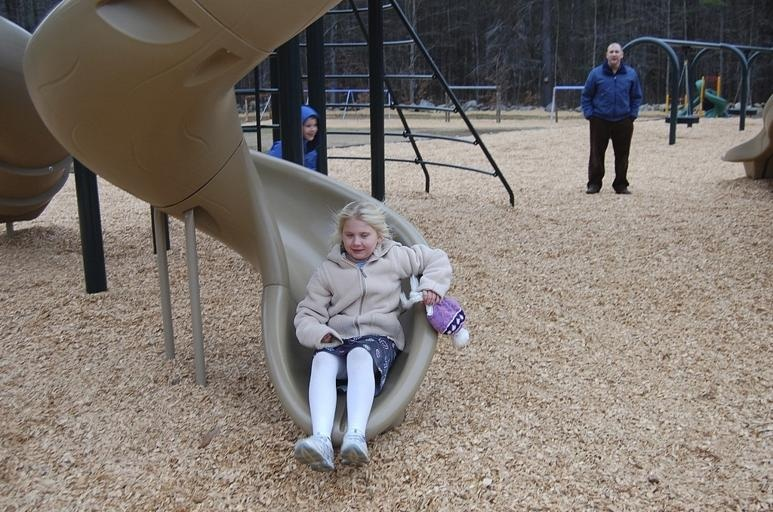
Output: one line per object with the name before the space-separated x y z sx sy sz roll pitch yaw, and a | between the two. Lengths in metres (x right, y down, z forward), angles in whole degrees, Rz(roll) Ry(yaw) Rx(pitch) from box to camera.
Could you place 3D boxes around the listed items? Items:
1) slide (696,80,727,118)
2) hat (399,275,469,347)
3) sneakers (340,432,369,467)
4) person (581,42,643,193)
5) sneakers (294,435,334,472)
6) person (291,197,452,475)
slide | 6.621 -3.219 15.386 0.612 0.776 1.586 9 19 22
hat | 0.289 0.371 4.352 0.456 0.169 0.275 42 49 0
sneakers | -0.162 0.993 3.886 0.078 0.231 0.109 2 45 1
person | 2.240 -1.389 7.595 0.571 1.390 0.590 8 17 21
sneakers | -0.365 0.997 3.888 0.115 0.255 0.133 -19 31 12
person | -0.128 0.410 4.346 0.709 0.854 1.514 2 40 1
